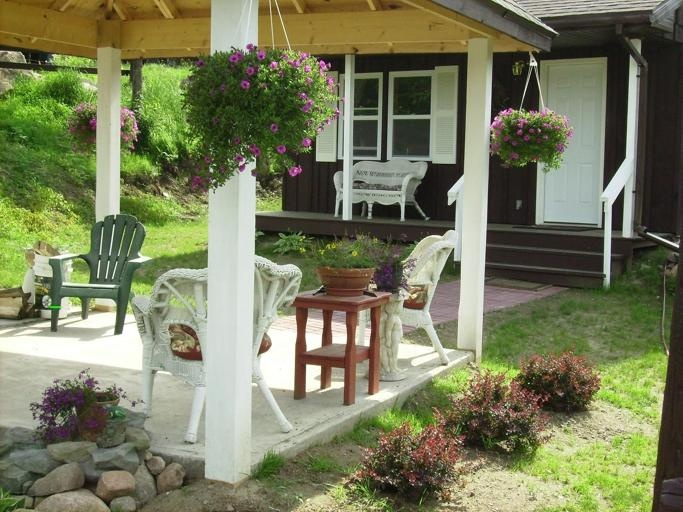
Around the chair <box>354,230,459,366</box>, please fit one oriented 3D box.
[{"bbox_3d":[0.501,0.348,6.355,0.998,1.553,1.092,2,-1,-2],"label":"chair"}]

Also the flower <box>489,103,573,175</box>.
[{"bbox_3d":[2.166,-1.331,7.438,0.756,0.701,0.829,-4,4,-36],"label":"flower"}]

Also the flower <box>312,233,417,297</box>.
[{"bbox_3d":[0.182,0.085,5.306,0.511,0.374,0.567,0,-3,27],"label":"flower"}]

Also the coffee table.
[{"bbox_3d":[-0.021,0.645,5.393,0.729,1.012,0.769,1,4,21],"label":"coffee table"}]

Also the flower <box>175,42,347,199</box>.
[{"bbox_3d":[-0.465,-0.898,3.720,0.691,0.769,0.747,15,23,34],"label":"flower"}]

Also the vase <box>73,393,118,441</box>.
[{"bbox_3d":[-1.539,1.009,4.146,0.198,0.267,0.268,7,12,18],"label":"vase"}]

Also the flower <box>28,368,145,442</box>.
[{"bbox_3d":[-1.664,0.972,4.212,0.566,0.449,0.457,1,-1,-17],"label":"flower"}]
